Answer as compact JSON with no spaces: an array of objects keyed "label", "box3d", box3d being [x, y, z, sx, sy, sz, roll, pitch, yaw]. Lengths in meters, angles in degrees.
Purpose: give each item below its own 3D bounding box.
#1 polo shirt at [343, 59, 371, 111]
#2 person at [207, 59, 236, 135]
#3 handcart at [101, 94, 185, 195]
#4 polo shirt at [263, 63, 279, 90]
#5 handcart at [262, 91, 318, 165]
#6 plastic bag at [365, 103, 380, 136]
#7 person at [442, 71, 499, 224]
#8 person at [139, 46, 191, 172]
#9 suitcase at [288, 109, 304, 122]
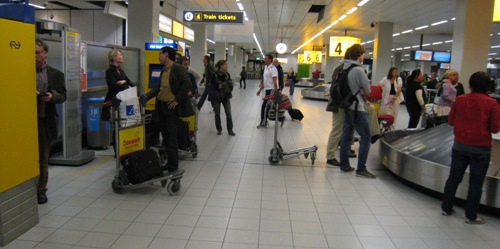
[{"label":"polo shirt","box3d":[2.357,-0.894,6.762,0.590,1.113,0.390,3,13,15]},{"label":"person","box3d":[-0.860,-0.838,9.242,0.949,2.182,0.766,3,2,-3]},{"label":"handcart","box3d":[-2.202,0.270,6.509,0.929,1.483,1.276,-11,-1,36]},{"label":"polo shirt","box3d":[0.685,-1.602,10.068,0.479,0.876,0.625,0,13,3]},{"label":"handcart","box3d":[1.028,0.043,7.514,1.088,1.718,1.057,0,13,3]},{"label":"plastic bag","box3d":[2.936,-0.090,7.307,0.298,0.781,0.653,7,15,31]},{"label":"person","box3d":[4.002,0.407,5.523,0.767,2.666,0.721,7,15,28]},{"label":"person","box3d":[-1.686,-0.275,6.417,0.787,2.696,0.801,12,18,43]},{"label":"suitcase","box3d":[1.738,-0.353,11.643,0.458,0.317,0.663,15,-3,27]}]
